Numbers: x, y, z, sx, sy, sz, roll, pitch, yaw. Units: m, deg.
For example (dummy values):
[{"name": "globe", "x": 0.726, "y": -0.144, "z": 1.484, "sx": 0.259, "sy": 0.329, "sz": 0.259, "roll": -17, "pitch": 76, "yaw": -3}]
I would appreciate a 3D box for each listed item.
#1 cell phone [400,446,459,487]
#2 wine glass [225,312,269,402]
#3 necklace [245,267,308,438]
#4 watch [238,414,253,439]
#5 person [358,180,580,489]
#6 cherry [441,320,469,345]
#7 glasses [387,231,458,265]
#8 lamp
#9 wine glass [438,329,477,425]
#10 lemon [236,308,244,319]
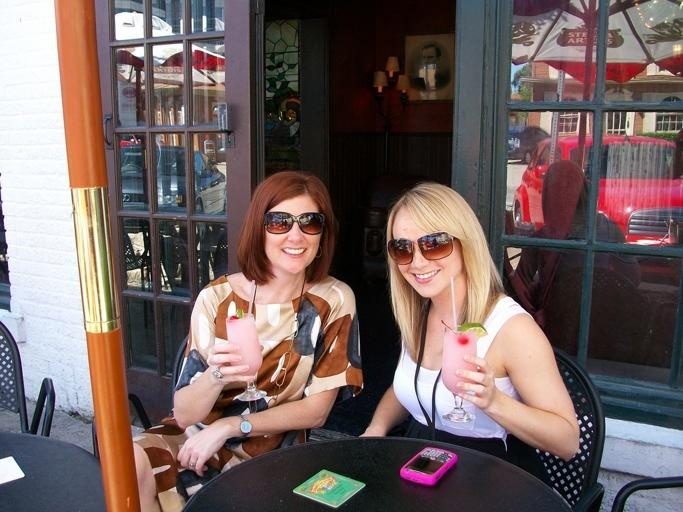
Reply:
[{"name": "cell phone", "x": 0.240, "y": 0.563, "z": 1.284, "sx": 0.098, "sy": 0.032, "sz": 0.185, "roll": 0, "pitch": 1, "yaw": 38}, {"name": "wine glass", "x": -0.320, "y": 0.360, "z": 1.658, "sx": 0.160, "sy": 0.317, "sz": 0.231, "roll": -4, "pitch": 14, "yaw": -32}, {"name": "necklace", "x": -0.236, "y": 0.381, "z": 1.815, "sx": 0.201, "sy": 0.516, "sz": 0.262, "roll": -3, "pitch": 17, "yaw": -13}, {"name": "watch", "x": -0.352, "y": 0.626, "z": 1.764, "sx": 0.048, "sy": 0.058, "sz": 0.044, "roll": 0, "pitch": 9, "yaw": -11}, {"name": "person", "x": 0.472, "y": 0.261, "z": 1.699, "sx": 0.645, "sy": 1.063, "sz": 0.688, "roll": 9, "pitch": 14, "yaw": 32}, {"name": "cherry", "x": 0.348, "y": 0.236, "z": 1.455, "sx": 0.051, "sy": 0.054, "sz": 0.052, "roll": -1, "pitch": -1, "yaw": 0}, {"name": "glasses", "x": 0.309, "y": -0.046, "z": 1.780, "sx": 0.234, "sy": 0.103, "sz": 0.233, "roll": -6, "pitch": 8, "yaw": 22}, {"name": "lamp", "x": 0.727, "y": -2.131, "z": 7.256, "sx": 0.579, "sy": 1.660, "sz": 0.394, "roll": 0, "pitch": 9, "yaw": -9}, {"name": "wine glass", "x": 0.357, "y": 0.361, "z": 1.451, "sx": 0.101, "sy": 0.262, "sz": 0.096, "roll": 0, "pitch": -4, "yaw": 10}, {"name": "lemon", "x": -0.322, "y": 0.185, "z": 1.522, "sx": 0.033, "sy": 0.035, "sz": 0.061, "roll": 0, "pitch": -13, "yaw": -5}]
